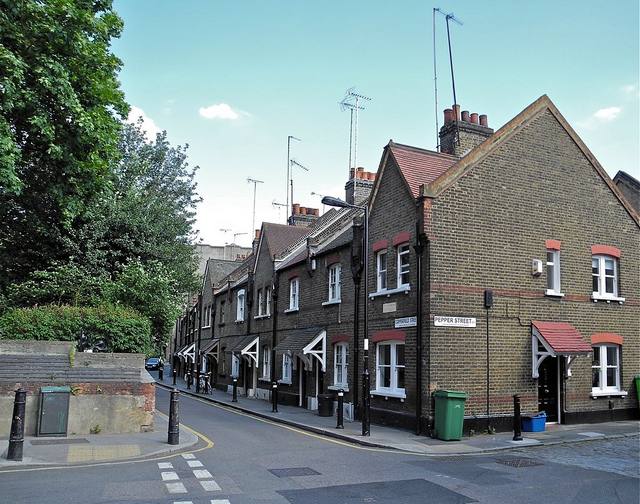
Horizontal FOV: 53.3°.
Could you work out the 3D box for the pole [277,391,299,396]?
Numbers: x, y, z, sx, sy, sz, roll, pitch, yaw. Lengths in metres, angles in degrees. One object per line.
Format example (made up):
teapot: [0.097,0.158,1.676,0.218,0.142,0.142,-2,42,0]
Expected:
pole: [-1.366,6.791,30.416,0.090,0.158,1.163,5,-4,-37]

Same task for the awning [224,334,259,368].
awning: [-4.464,5.620,37.307,1.114,1.784,4.541,2,-4,-15]

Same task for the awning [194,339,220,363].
awning: [-7.997,7.167,46.164,1.093,2.075,5.451,5,-15,-12]

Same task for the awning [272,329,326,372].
awning: [-1.064,4.452,28.709,1.080,1.956,3.237,3,-8,-31]

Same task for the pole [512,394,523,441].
pole: [6.162,5.173,19.881,0.281,1.405,0.778,-2,-14,17]

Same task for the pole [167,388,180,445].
pole: [-4.093,4.657,17.978,0.326,1.492,0.709,5,-14,-12]

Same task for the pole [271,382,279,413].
pole: [-1.904,6.202,27.135,0.267,1.286,0.771,3,-14,-4]
